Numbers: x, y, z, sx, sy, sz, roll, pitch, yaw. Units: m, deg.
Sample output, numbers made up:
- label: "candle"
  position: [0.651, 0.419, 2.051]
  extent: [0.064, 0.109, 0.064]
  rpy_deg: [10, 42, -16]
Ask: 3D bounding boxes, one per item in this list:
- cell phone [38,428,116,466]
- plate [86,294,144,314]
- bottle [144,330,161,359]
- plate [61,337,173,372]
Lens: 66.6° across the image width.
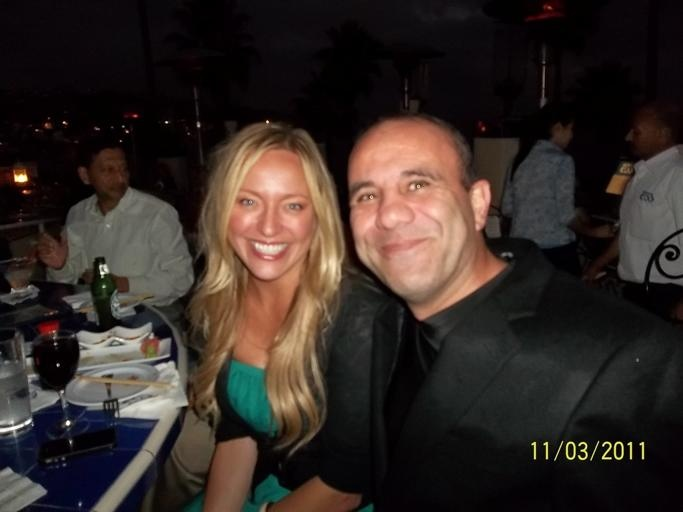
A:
- label: "cell phone"
  position: [-0.959, 0.703, 1.890]
  extent: [0.305, 0.031, 0.164]
  rpy_deg: [-9, 12, -35]
- label: "plate"
  position: [-1.349, 0.251, 3.120]
  extent: [0.175, 0.178, 0.174]
  rpy_deg: [-2, 3, 33]
- label: "bottle"
  position: [-0.918, 0.441, 2.521]
  extent: [0.065, 0.026, 0.099]
  rpy_deg: [-15, 48, 6]
- label: "plate"
  position: [-1.033, 0.470, 2.482]
  extent: [0.376, 0.050, 0.150]
  rpy_deg: [-3, 41, -20]
